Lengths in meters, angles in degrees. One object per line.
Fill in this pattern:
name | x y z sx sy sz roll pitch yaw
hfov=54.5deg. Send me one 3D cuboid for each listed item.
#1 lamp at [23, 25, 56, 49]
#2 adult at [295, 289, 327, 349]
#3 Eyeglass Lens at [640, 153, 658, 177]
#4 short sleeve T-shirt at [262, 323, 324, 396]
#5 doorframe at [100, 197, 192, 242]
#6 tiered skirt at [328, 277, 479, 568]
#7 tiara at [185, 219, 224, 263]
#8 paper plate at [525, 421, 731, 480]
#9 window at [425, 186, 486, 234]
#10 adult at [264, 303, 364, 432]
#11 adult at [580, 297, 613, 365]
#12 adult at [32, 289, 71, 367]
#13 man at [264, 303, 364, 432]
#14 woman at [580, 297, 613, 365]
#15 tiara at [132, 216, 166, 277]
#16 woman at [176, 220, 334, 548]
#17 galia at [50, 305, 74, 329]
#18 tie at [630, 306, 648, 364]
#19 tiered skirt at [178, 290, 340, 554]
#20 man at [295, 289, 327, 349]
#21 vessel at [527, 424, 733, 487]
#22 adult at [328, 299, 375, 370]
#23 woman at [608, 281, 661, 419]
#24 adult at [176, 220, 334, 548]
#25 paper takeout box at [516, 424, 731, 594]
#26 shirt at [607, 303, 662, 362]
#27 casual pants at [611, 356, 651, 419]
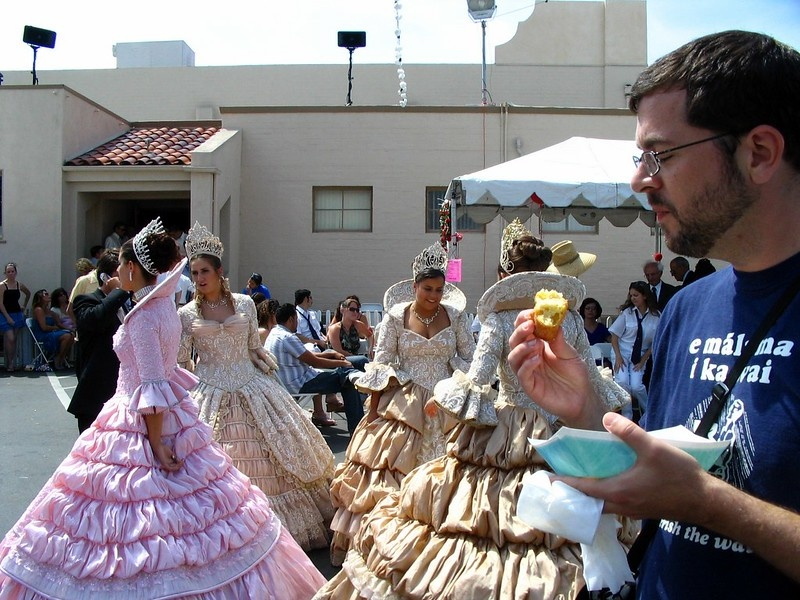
lamp | -6.862 -4.998 14.734 0.529 0.298 0.363 -2 7 -29
adult | -1.163 0.242 10.039 0.241 0.815 0.373 -3 27 9
Eyeglass Lens | 0.746 -0.407 2.342 0.052 0.021 0.057 13 33 -18
short sleeve T-shirt | -1.028 0.546 7.460 0.488 0.818 0.722 -6 7 -16
doorframe | -5.488 -1.721 15.755 0.646 0.930 1.221 3 -2 -42
tiered skirt | 0.120 0.800 5.458 1.119 1.988 1.013 0 2 -7
tiara | -1.387 -0.418 5.510 0.244 0.235 0.371 0 -2 -2
paper plate | 0.551 0.459 2.327 0.420 0.160 0.405 -6 -15 1
window | 0.750 -1.614 13.768 0.887 0.891 0.074 -5 1 -42
adult | -0.889 0.676 7.756 0.957 1.392 0.883 -2 4 -31
adult | 2.165 0.457 8.774 0.448 1.012 0.275 0 14 16
adult | -5.248 0.425 11.746 0.523 1.211 0.417 -1 11 4
man | -0.912 0.623 7.790 0.976 1.317 0.892 -6 11 -38
woman | 2.151 0.468 8.784 0.469 1.036 0.267 -1 13 14
tiara | -1.441 -0.301 4.421 0.102 0.334 0.236 -2 5 43
woman | -1.199 0.673 5.439 1.476 2.118 1.143 -4 -4 -22
galia | -5.046 0.257 11.568 0.167 0.340 0.325 -20 -1 26
tie | 2.503 0.386 8.164 0.158 0.582 0.042 0 -10 21
tiered skirt | -1.069 0.733 5.416 1.151 1.783 0.927 -10 17 -11
man | -1.163 0.242 10.039 0.241 0.815 0.373 -3 27 9
vessel | 0.525 0.459 2.296 0.264 0.111 0.337 11 -24 -24
adult | -0.565 0.405 8.935 0.465 1.108 0.530 -7 13 -36
woman | 2.515 0.560 8.365 0.450 1.676 0.436 -2 24 6
adult | -1.184 0.603 5.430 1.425 2.123 1.145 -5 -1 -17
paper takeout box | 0.635 0.554 2.322 0.507 0.449 0.542 -6 -8 13
shirt | 2.593 0.316 8.254 0.517 0.635 0.251 9 33 35
casual pants | 2.427 0.860 8.149 0.201 0.883 0.294 13 -26 -40
